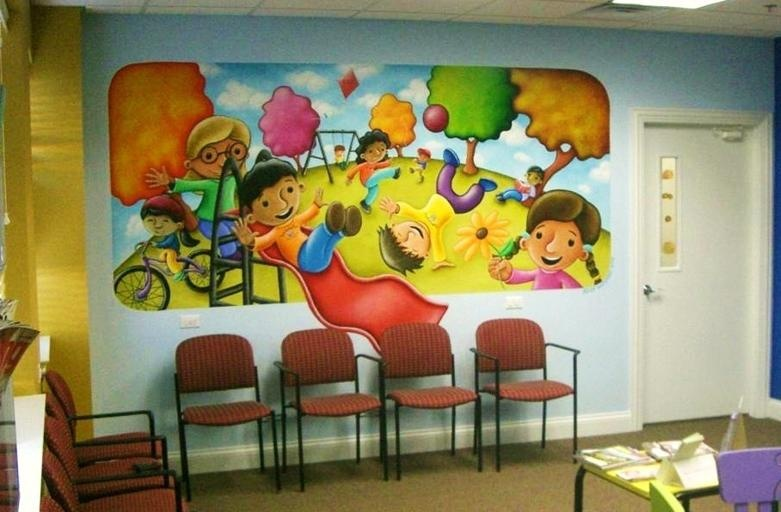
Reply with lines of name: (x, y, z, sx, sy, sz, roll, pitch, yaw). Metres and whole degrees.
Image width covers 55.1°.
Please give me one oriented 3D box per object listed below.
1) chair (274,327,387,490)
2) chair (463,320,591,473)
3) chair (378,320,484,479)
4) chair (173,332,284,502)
chair: (-0.516, 1.242, 6.282, 0.846, 1.132, 0.746, -3, 14, -9)
chair: (1.158, 1.165, 6.509, 0.878, 1.156, 0.743, -1, 1, -27)
chair: (0.294, 1.170, 6.314, 0.901, 1.165, 0.868, -1, -1, -12)
chair: (-1.314, 1.277, 6.098, 0.811, 1.138, 0.758, -5, 15, -16)
